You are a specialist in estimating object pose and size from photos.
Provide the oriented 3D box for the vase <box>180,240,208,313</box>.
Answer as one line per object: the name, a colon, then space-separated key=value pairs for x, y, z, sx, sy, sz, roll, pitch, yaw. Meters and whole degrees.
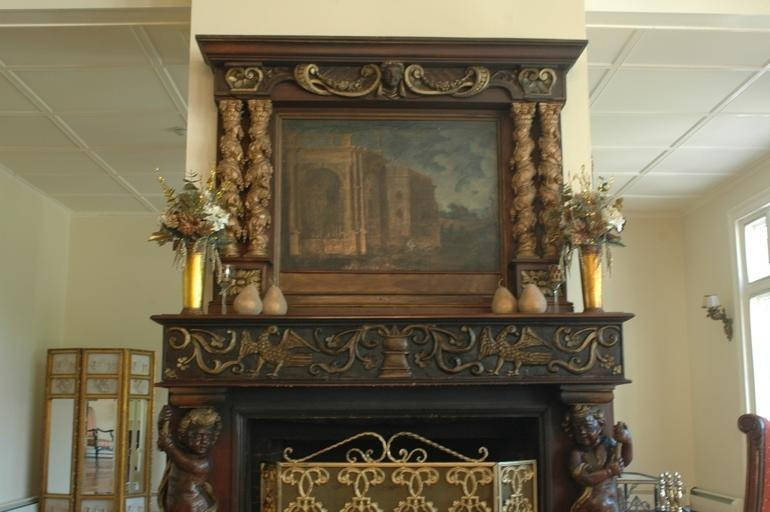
vase: x=-1.758 y=0.197 z=10.651 sx=0.210 sy=0.594 sz=0.190 roll=-2 pitch=11 yaw=-9

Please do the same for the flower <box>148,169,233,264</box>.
flower: x=-1.797 y=-0.363 z=10.794 sx=0.725 sy=0.808 sz=0.413 roll=-1 pitch=10 yaw=-8

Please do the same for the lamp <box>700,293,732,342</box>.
lamp: x=4.282 y=0.751 z=15.061 sx=0.378 sy=0.586 sz=0.558 roll=1 pitch=10 yaw=4

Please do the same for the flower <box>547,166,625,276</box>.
flower: x=1.908 y=-0.282 z=11.022 sx=0.708 sy=0.878 sz=0.712 roll=2 pitch=-10 yaw=1

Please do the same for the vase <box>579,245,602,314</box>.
vase: x=1.900 y=0.198 z=10.746 sx=0.202 sy=0.585 sz=0.236 roll=0 pitch=11 yaw=2

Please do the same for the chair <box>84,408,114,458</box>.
chair: x=-3.538 y=2.186 z=14.569 sx=0.361 sy=0.558 sz=0.345 roll=-1 pitch=-7 yaw=-20
